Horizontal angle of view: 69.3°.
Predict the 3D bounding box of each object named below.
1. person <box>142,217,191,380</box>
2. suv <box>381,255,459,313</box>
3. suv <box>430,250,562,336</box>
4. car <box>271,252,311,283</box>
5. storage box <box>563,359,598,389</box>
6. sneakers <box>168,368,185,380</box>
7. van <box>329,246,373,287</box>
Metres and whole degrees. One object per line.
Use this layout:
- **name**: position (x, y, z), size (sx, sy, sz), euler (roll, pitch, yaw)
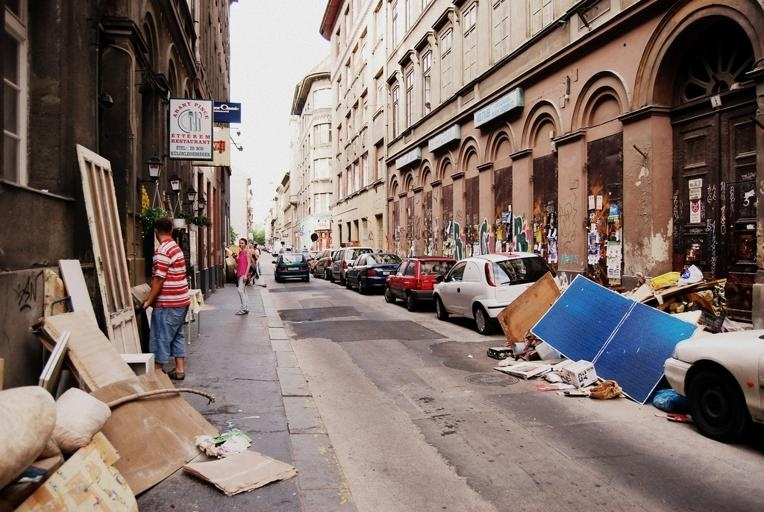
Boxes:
- **person**: position (-3.451, 0.548, 8.801), size (0.456, 2.239, 0.677), euler (5, 10, 28)
- **suv**: position (1.167, 0.697, 17.719), size (1.130, 1.047, 2.167), euler (-1, 7, -17)
- **suv**: position (2.587, 0.725, 13.674), size (1.465, 1.303, 2.516), euler (-3, 6, -20)
- **car**: position (-5.059, 0.638, 31.633), size (1.432, 1.259, 2.747), euler (-1, 6, -13)
- **storage box**: position (3.110, 1.856, 8.806), size (0.369, 0.266, 0.390), euler (-11, 3, -16)
- **sneakers**: position (-3.328, 1.878, 8.992), size (0.267, 0.123, 0.130), euler (8, 8, 39)
- **van**: position (-1.777, 0.300, 28.627), size (1.267, 1.251, 2.602), euler (-1, 5, -11)
